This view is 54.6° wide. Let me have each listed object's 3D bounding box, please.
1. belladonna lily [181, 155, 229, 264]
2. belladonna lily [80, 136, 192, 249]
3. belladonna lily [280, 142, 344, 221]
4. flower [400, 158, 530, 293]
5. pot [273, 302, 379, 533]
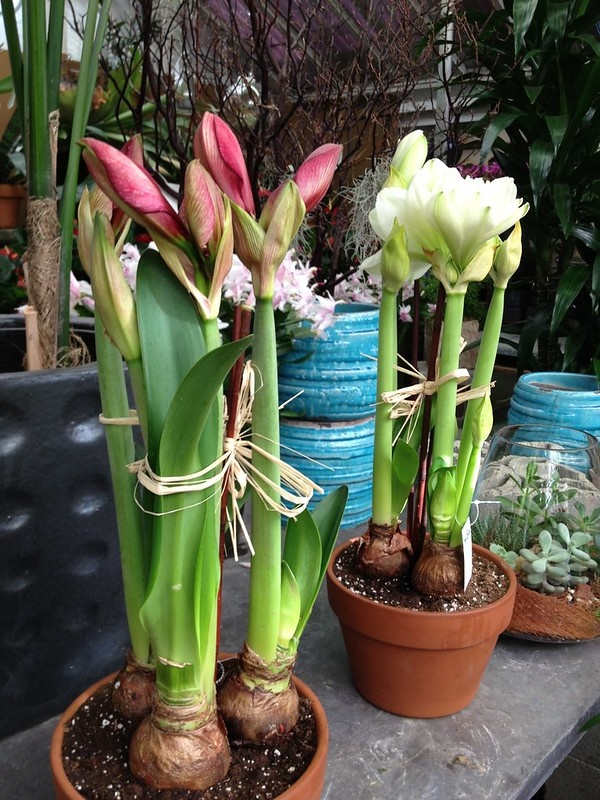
[{"bbox_3d":[-0.038,-0.078,0.244,0.023,0.037,0.014,-39,56,-22],"label":"belladonna lily"},{"bbox_3d":[-0.069,-0.082,0.238,0.027,0.033,0.053,3,7,21],"label":"belladonna lily"},{"bbox_3d":[0.006,-0.109,0.312,0.018,0.045,0.019,19,33,-17],"label":"belladonna lily"},{"bbox_3d":[0.120,-0.146,0.491,0.092,0.110,0.130,-3,7,-29],"label":"flower"},{"bbox_3d":[0.048,0.026,1.062,0.176,0.408,0.223,1,6,7],"label":"pot"}]
